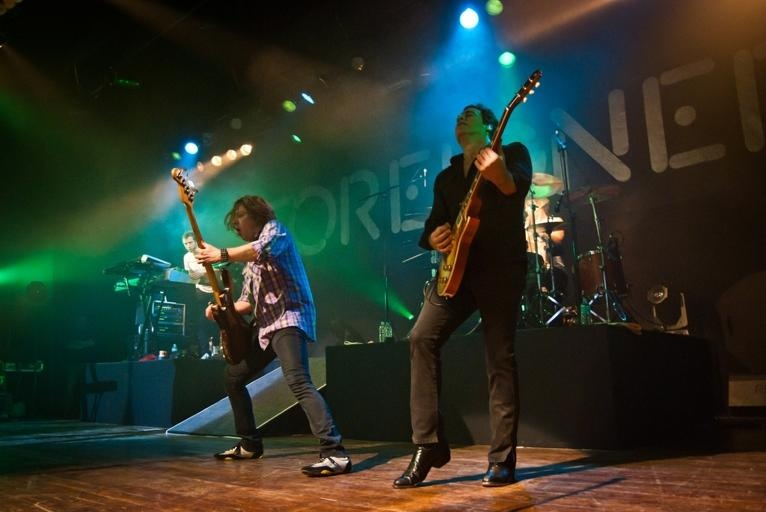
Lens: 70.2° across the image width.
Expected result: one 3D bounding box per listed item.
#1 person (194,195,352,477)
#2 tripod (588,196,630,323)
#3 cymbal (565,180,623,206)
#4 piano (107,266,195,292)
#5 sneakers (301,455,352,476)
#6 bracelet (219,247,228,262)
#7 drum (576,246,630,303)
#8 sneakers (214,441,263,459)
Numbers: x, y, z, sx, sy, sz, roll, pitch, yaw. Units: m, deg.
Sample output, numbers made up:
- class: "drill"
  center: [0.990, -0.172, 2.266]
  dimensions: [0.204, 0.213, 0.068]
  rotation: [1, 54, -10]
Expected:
- class: "person"
  center: [-1.060, 0.645, 5.205]
  dimensions: [1.400, 2.630, 0.807]
  rotation: [-5, -7, 35]
- class: "tripod"
  center: [3.099, -0.025, 7.553]
  dimensions: [0.406, 1.827, 1.977]
  rotation: [-3, -6, 20]
- class: "cymbal"
  center: [3.042, -0.899, 7.949]
  dimensions: [0.497, 0.148, 0.507]
  rotation: [-15, -14, 38]
- class: "piano"
  center: [-3.889, 0.415, 9.489]
  dimensions: [0.788, 0.189, 0.670]
  rotation: [-13, -17, 43]
- class: "sneakers"
  center: [-0.476, 1.823, 4.741]
  dimensions: [0.441, 0.184, 0.154]
  rotation: [5, -22, -15]
- class: "bracelet"
  center: [-1.470, -0.004, 5.085]
  dimensions: [0.072, 0.115, 0.129]
  rotation: [1, -6, -21]
- class: "drum"
  center: [2.955, 0.271, 7.726]
  dimensions: [0.719, 0.695, 0.706]
  rotation: [-3, -12, 3]
- class: "sneakers"
  center: [-1.390, 1.938, 5.450]
  dimensions: [0.502, 0.193, 0.177]
  rotation: [5, -34, -6]
